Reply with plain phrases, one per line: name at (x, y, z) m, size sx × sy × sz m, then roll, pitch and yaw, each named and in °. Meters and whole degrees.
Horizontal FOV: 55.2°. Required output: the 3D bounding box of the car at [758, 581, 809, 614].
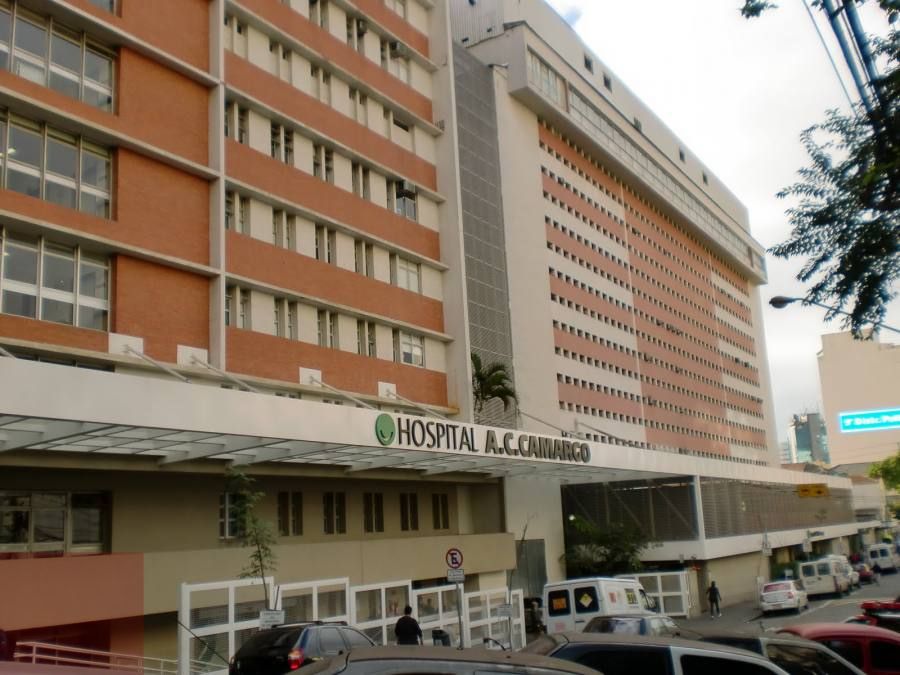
car at (17.744, 13.721, 45.693) m, size 1.531 × 1.122 × 2.693 m, roll -8°, pitch -13°, yaw 31°
